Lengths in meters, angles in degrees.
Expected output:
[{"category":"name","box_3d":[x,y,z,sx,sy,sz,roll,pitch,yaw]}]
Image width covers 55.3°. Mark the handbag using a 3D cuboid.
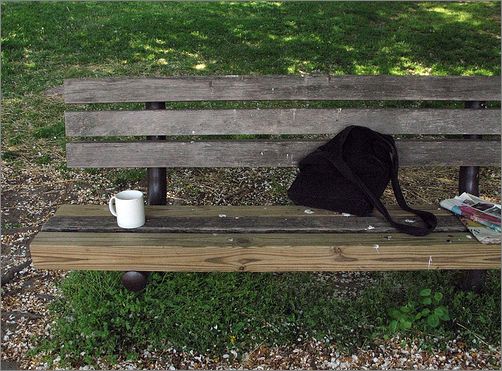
[{"category":"handbag","box_3d":[0.795,-0.069,3.226,0.989,0.490,0.586,20,38,26]}]
